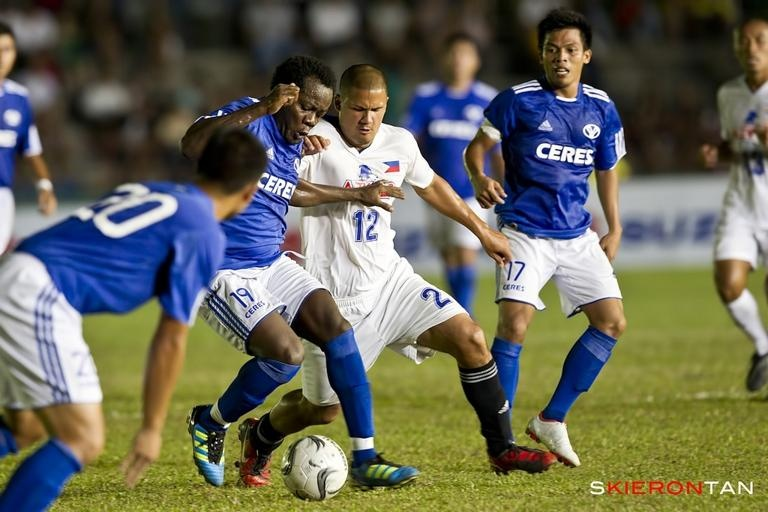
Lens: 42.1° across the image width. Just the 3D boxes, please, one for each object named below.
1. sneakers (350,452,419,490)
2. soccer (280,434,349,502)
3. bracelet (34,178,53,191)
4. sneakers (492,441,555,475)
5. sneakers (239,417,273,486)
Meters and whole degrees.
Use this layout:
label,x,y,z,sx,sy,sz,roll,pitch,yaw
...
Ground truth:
label,x,y,z,sx,sy,sz,roll,pitch,yaw
sneakers,-0.035,1.414,6.622,0.502,0.232,0.183,-1,2,6
soccer,-0.497,1.383,6.690,0.470,0.475,0.457,-5,49,-9
bracelet,-3.051,-0.596,8.501,0.136,0.102,0.135,-4,2,-2
sneakers,0.935,1.356,6.834,0.490,0.245,0.179,-3,22,8
sneakers,-0.977,1.306,6.847,0.175,0.487,0.207,-4,-8,-30
